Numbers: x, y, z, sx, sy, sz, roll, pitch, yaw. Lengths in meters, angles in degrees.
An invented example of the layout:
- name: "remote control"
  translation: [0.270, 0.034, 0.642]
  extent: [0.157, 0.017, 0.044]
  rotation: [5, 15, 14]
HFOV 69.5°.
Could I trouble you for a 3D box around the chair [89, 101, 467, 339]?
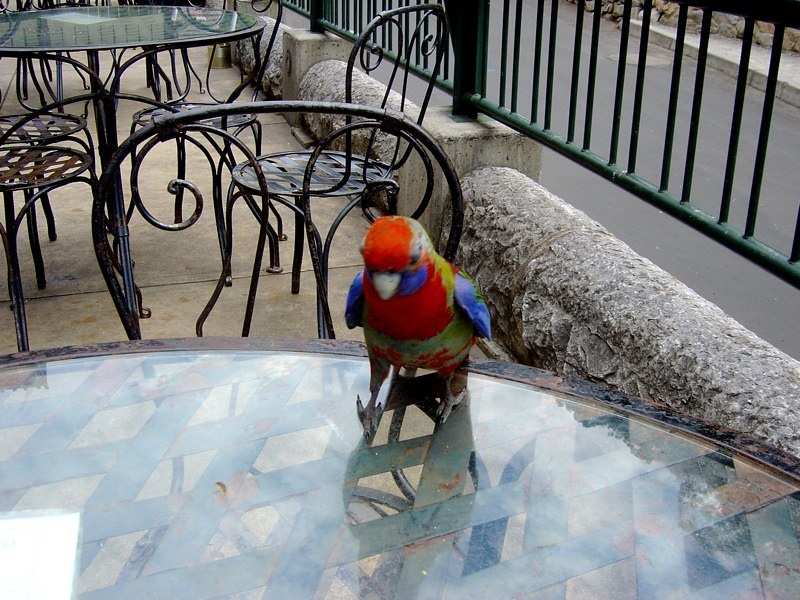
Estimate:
- name: "chair"
  translation: [-0.598, -0.353, 2.738]
  extent: [1.271, 1.467, 1.074]
  rotation: [-1, 48, -10]
